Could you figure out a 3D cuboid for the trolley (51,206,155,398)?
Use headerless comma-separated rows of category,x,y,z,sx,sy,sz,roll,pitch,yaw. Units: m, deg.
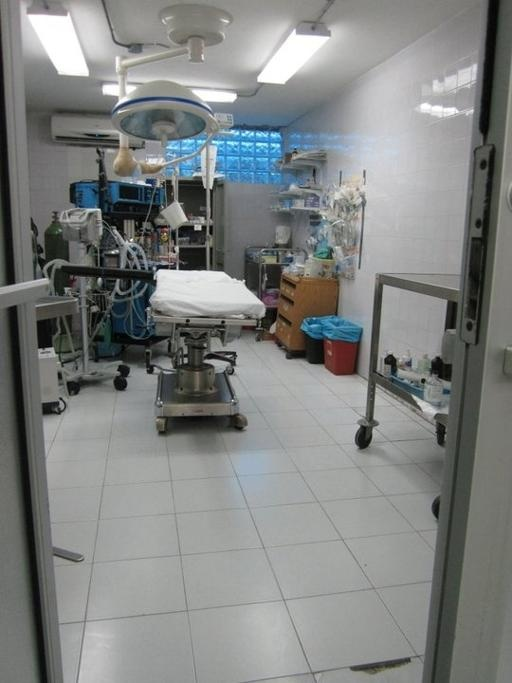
trolley,-1.366,-0.335,4.478,0.792,1.482,0.604,-2,7,-16

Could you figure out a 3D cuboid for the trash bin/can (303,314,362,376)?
trash bin/can,0.729,0.027,5.130,0.385,0.482,0.650,-2,11,-18

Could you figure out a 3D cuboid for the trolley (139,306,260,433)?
trolley,-0.477,0.122,3.903,0.630,0.815,1.310,3,7,-12

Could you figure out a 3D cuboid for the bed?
bed,-0.414,-0.029,3.791,0.616,0.825,1.378,-1,11,-7

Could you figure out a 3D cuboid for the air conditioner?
air conditioner,-2.282,-2.828,6.954,0.896,0.422,0.519,0,11,-7

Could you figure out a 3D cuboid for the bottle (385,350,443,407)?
bottle,0.843,0.196,2.737,0.173,0.090,0.265,7,19,-23

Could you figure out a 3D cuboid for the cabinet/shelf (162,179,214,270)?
cabinet/shelf,-0.945,-1.604,7.293,0.687,1.243,2.243,0,11,-5
